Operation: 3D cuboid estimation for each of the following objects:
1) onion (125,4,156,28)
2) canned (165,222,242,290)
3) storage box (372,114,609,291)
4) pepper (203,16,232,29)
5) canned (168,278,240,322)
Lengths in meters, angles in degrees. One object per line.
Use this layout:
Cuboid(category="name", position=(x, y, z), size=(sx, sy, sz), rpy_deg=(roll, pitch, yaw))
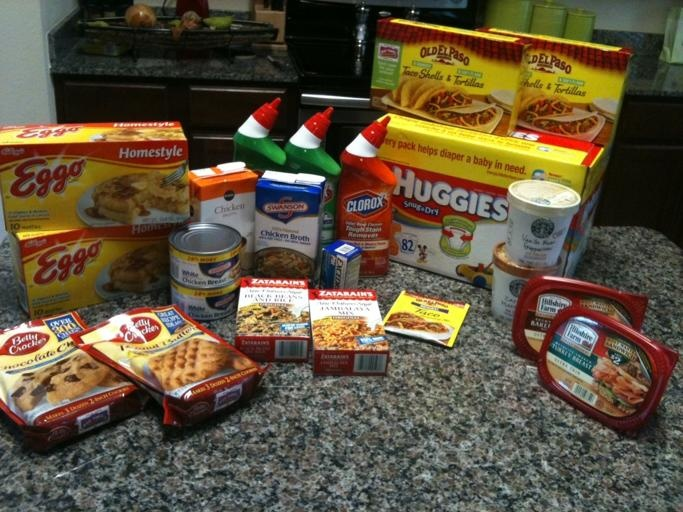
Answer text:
Cuboid(category="onion", position=(-0.946, -1.123, 2.640), size=(0.128, 0.074, 0.137), rpy_deg=(1, 30, -15))
Cuboid(category="canned", position=(-0.265, -0.003, 1.094), size=(0.145, 0.069, 0.123), rpy_deg=(8, 33, 2))
Cuboid(category="storage box", position=(0.309, -0.120, 1.198), size=(0.437, 0.222, 0.131), rpy_deg=(15, 29, 26))
Cuboid(category="pepper", position=(-0.604, -1.147, 2.788), size=(0.152, 0.042, 0.060), rpy_deg=(-2, 59, 3))
Cuboid(category="canned", position=(-0.270, 0.080, 1.121), size=(0.124, 0.059, 0.118), rpy_deg=(-10, 17, -33))
